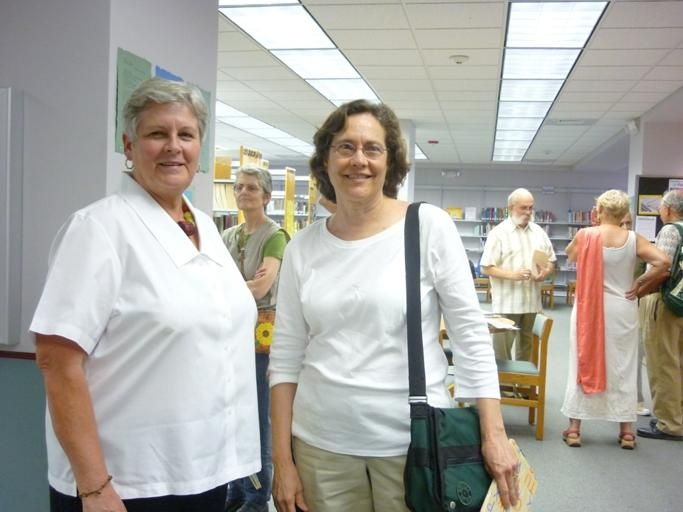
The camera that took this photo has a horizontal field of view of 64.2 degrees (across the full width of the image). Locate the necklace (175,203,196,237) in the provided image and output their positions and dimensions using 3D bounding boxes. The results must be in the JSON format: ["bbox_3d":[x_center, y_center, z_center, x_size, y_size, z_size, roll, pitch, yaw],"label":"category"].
[{"bbox_3d":[-0.589,-0.132,2.095,0.065,0.034,0.124,32,17,-9],"label":"necklace"}]

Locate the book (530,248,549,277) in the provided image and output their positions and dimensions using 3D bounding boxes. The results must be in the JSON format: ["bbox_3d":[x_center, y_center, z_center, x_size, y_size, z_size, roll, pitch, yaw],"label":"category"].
[{"bbox_3d":[1.909,0.073,5.280,0.231,0.346,0.033,4,-6,-15],"label":"book"}]

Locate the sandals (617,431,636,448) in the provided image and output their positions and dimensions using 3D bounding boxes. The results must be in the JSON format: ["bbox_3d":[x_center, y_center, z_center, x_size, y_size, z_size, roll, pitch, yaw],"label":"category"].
[{"bbox_3d":[2.367,1.546,4.525,0.081,0.080,0.179,-1,3,13],"label":"sandals"}]

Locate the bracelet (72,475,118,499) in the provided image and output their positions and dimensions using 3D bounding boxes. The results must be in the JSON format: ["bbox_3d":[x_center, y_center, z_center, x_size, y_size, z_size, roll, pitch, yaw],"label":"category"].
[{"bbox_3d":[-0.799,0.739,1.736,0.080,0.025,0.071,-31,14,-30],"label":"bracelet"}]

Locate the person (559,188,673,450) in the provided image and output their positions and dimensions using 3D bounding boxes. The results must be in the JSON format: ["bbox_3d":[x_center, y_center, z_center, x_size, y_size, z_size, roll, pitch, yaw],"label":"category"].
[{"bbox_3d":[2.221,0.523,4.516,0.692,2.143,0.371,2,4,18],"label":"person"}]

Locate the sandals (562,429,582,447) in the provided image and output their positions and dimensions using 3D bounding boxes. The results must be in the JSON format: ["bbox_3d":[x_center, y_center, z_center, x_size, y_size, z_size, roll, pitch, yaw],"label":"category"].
[{"bbox_3d":[1.918,1.529,4.518,0.078,0.080,0.179,-1,-6,4],"label":"sandals"}]
